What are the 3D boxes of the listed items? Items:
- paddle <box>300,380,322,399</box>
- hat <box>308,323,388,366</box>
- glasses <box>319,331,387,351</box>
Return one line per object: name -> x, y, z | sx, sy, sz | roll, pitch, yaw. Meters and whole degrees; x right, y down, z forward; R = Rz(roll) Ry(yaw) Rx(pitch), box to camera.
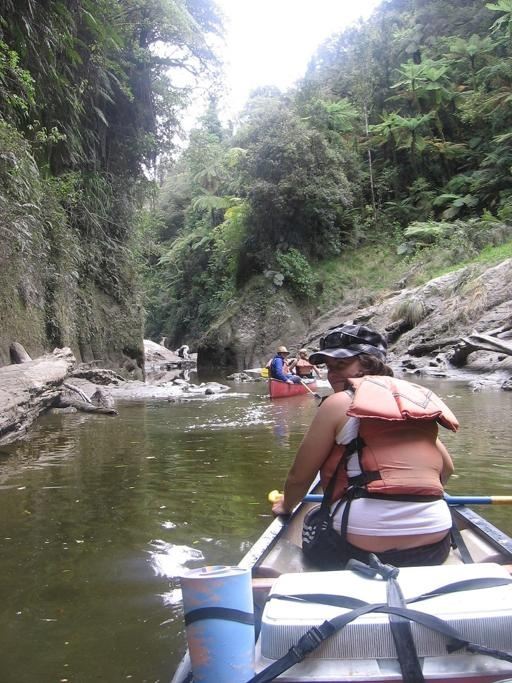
paddle -> 1.379, 1.235, 13.624 | 0.145, 0.145, 1.040 | 4, -30, 42
hat -> 0.428, 0.023, 2.366 | 0.265, 0.122, 0.183 | 3, -13, -22
glasses -> 0.430, -0.007, 2.339 | 0.166, 0.058, 0.117 | -2, 2, -23
